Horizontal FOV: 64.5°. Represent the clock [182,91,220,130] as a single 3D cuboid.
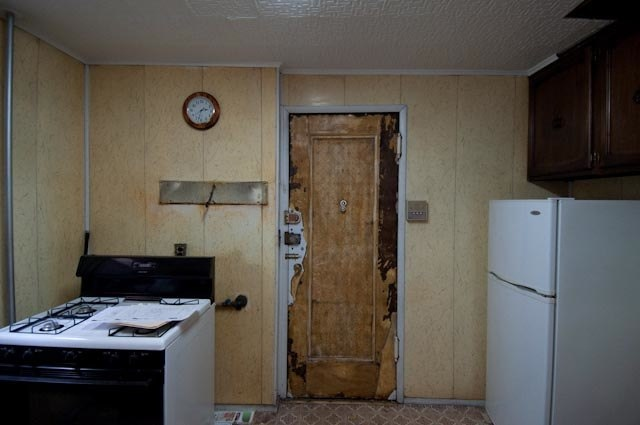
[{"bbox_3d":[-0.994,-0.854,4.216,0.315,0.313,0.036,1,-1,2],"label":"clock"}]
